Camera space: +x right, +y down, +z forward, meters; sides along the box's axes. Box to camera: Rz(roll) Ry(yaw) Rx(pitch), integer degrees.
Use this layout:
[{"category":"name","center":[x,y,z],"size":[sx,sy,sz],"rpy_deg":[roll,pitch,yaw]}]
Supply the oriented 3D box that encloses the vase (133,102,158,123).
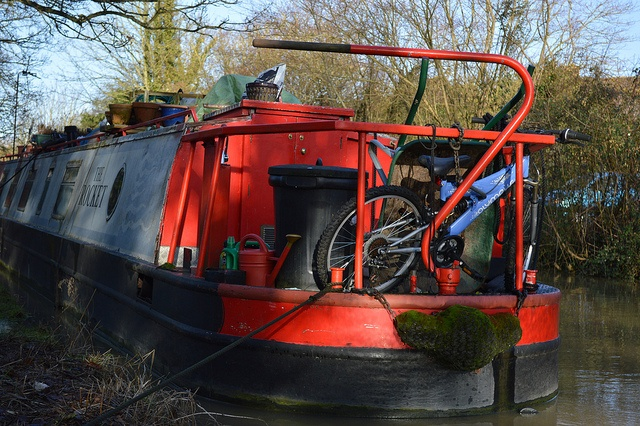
[{"category":"vase","center":[-3.512,-2.024,11.496],"size":[0.504,0.421,0.525],"rpy_deg":[9,9,44]}]

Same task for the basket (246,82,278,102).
[{"category":"basket","center":[-0.862,-1.770,8.672],"size":[0.336,0.256,0.346],"rpy_deg":[0,6,-13]}]

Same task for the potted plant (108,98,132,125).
[{"category":"potted plant","center":[-3.982,-1.997,11.342],"size":[0.402,0.339,0.391],"rpy_deg":[4,-2,-37]}]
